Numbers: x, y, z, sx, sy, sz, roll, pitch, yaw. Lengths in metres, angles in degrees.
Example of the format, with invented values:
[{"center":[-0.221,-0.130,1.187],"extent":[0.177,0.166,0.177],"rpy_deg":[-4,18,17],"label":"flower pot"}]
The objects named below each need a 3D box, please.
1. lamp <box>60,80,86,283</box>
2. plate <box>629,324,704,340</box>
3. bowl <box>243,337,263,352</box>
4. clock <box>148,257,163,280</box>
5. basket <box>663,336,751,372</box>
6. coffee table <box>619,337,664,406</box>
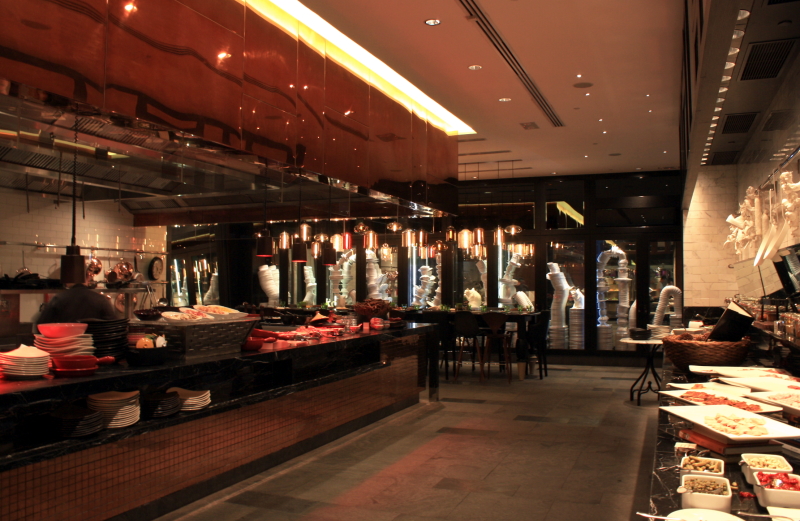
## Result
[{"center":[-2.830,-0.511,4.882],"extent":[0.213,1.387,0.220],"rpy_deg":[12,9,42],"label":"lamp"},{"center":[3.901,1.010,7.846],"extent":[1.044,0.206,0.865],"rpy_deg":[-1,-3,3],"label":"plate"},{"center":[-1.430,0.824,5.501],"extent":[0.161,0.064,0.137],"rpy_deg":[-1,-1,17],"label":"bowl"},{"center":[-5.209,0.146,11.944],"extent":[0.100,0.472,0.558],"rpy_deg":[-1,2,17],"label":"clock"},{"center":[2.575,0.770,4.733],"extent":[0.731,0.247,0.643],"rpy_deg":[-4,-1,-3],"label":"basket"},{"center":[3.960,1.732,8.827],"extent":[0.979,0.943,0.984],"rpy_deg":[-1,-11,28],"label":"coffee table"}]
